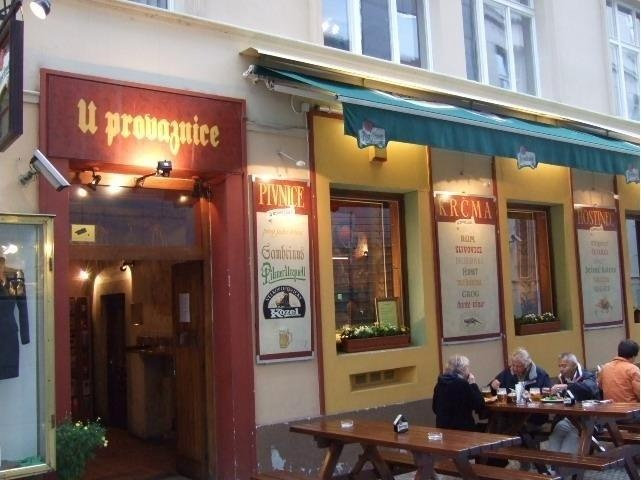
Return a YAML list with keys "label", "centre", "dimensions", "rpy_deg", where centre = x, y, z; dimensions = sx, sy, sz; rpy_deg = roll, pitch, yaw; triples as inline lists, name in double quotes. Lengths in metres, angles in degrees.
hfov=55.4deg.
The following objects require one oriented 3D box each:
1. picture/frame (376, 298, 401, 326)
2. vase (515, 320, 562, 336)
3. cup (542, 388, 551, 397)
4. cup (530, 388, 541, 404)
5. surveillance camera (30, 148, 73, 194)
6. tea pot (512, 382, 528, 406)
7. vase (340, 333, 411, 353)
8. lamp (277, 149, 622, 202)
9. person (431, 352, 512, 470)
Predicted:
- label: "picture/frame"
  centre: [0.968, 1.041, 8.825]
  dimensions: [0.342, 0.423, 0.034]
  rpy_deg: [9, -23, -30]
- label: "vase"
  centre: [3.621, 1.443, 10.111]
  dimensions: [1.019, 0.201, 0.237]
  rpy_deg: [1, -6, -38]
- label: "cup"
  centre: [2.882, 1.927, 7.762]
  dimensions: [0.099, 0.104, 0.071]
  rpy_deg: [-3, -34, 26]
- label: "cup"
  centre: [2.667, 1.937, 7.605]
  dimensions: [0.136, 0.142, 0.136]
  rpy_deg: [2, -2, 0]
- label: "surveillance camera"
  centre: [-2.635, -0.669, 5.916]
  dimensions: [0.623, 0.424, 0.187]
  rpy_deg: [-7, -7, 43]
- label: "tea pot"
  centre: [2.460, 1.894, 7.513]
  dimensions: [0.125, 0.159, 0.255]
  rpy_deg: [0, 35, 10]
- label: "vase"
  centre: [0.784, 1.410, 8.436]
  dimensions: [1.045, 0.191, 0.257]
  rpy_deg: [0, -6, -28]
- label: "lamp"
  centre: [1.753, -0.904, 9.124]
  dimensions: [5.399, 0.975, 0.226]
  rpy_deg: [0, -6, -32]
- label: "person"
  centre: [1.822, 2.199, 7.595]
  dimensions: [0.786, 1.447, 0.668]
  rpy_deg: [2, -10, -33]
